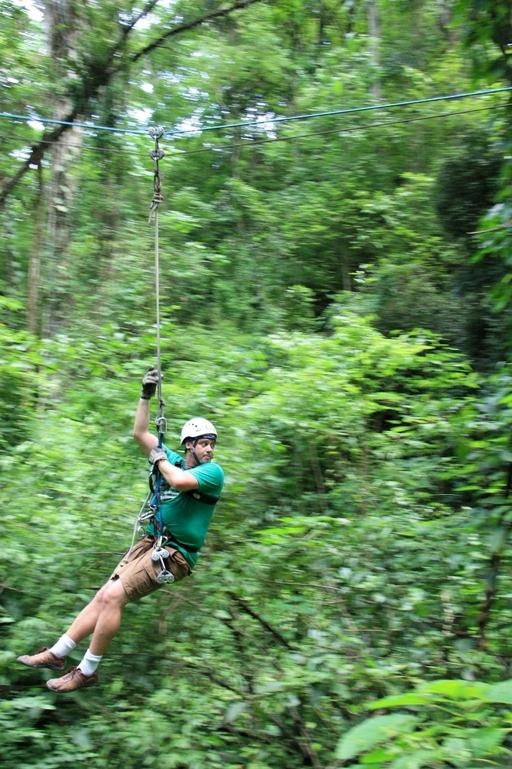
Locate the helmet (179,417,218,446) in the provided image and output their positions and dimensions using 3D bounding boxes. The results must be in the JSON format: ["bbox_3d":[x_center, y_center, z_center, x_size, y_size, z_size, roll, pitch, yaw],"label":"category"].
[{"bbox_3d":[-0.420,0.337,6.509,0.192,0.180,0.250,27,-19,-38],"label":"helmet"}]

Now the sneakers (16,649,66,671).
[{"bbox_3d":[-1.426,1.837,5.979,0.347,0.119,0.120,10,-17,-9],"label":"sneakers"}]

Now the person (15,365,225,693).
[{"bbox_3d":[-0.837,1.013,6.280,1.049,1.782,0.649,8,-4,-14],"label":"person"}]

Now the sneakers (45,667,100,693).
[{"bbox_3d":[-1.236,2.002,6.019,0.389,0.142,0.136,7,-13,-21],"label":"sneakers"}]
